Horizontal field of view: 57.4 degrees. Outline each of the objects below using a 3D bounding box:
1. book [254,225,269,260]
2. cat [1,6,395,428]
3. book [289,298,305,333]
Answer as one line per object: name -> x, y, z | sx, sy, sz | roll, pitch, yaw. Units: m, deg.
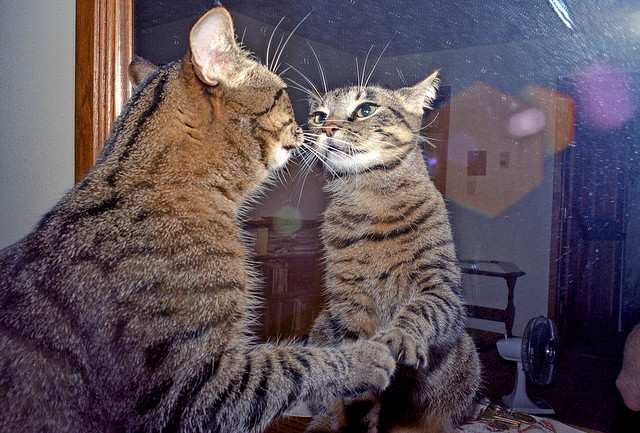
book -> -0.154, 0.065, 1.544 | 0.014, 0.079, 0.037 | 15, 21, 39
cat -> -0.317, -0.008, 1.403 | 0.877, 0.972, 0.418 | 3, 11, -12
book -> -0.062, 0.251, 1.489 | 0.064, 0.063, 0.015 | 6, -8, 23
